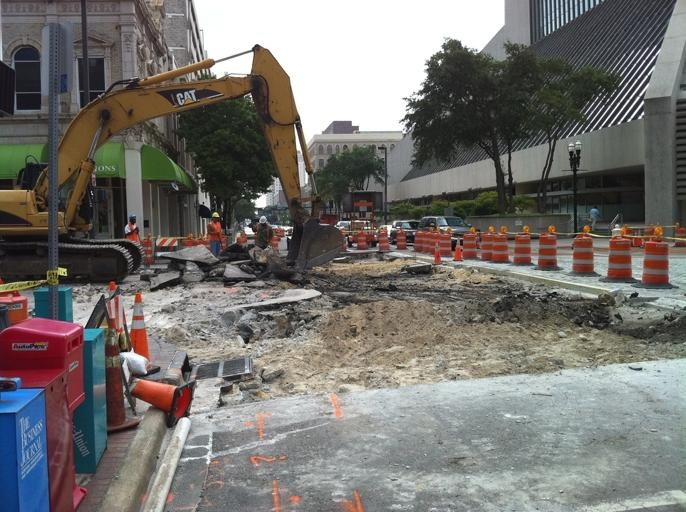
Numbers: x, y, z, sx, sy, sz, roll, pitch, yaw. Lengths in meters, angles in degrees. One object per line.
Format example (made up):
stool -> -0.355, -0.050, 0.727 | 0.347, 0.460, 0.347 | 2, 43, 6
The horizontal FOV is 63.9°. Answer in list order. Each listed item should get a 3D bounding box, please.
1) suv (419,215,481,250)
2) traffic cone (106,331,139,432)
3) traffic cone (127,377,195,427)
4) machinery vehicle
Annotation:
suv -> 5.756, -1.679, 30.319 | 1.639, 1.363, 2.955 | 0, -1, -26
traffic cone -> -2.142, 1.153, 5.232 | 0.233, 0.990, 0.313 | 1, 5, 19
traffic cone -> -1.917, 1.453, 5.766 | 0.556, 0.362, 0.391 | 14, 7, 18
machinery vehicle -> -5.544, -2.417, 15.549 | 9.447, 6.474, 1.970 | 0, 4, 6
